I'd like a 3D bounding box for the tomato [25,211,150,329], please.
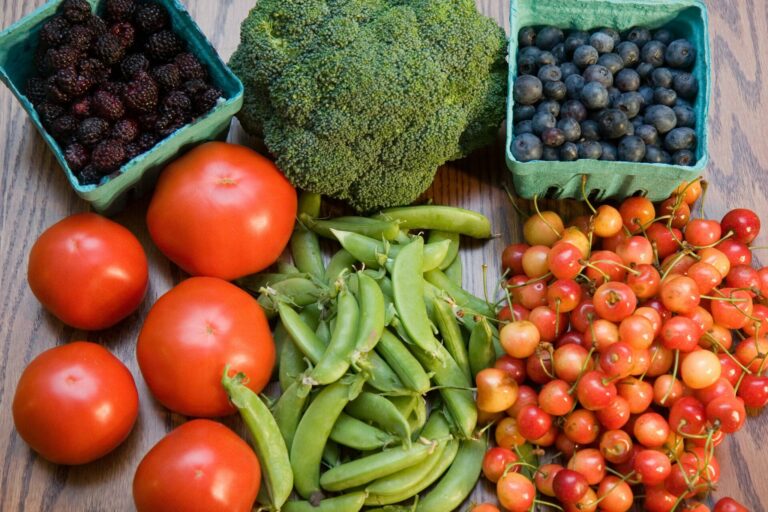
[{"bbox_3d":[-0.811,0.037,2.037,0.303,0.302,0.334,-6,63,-14],"label":"tomato"}]
